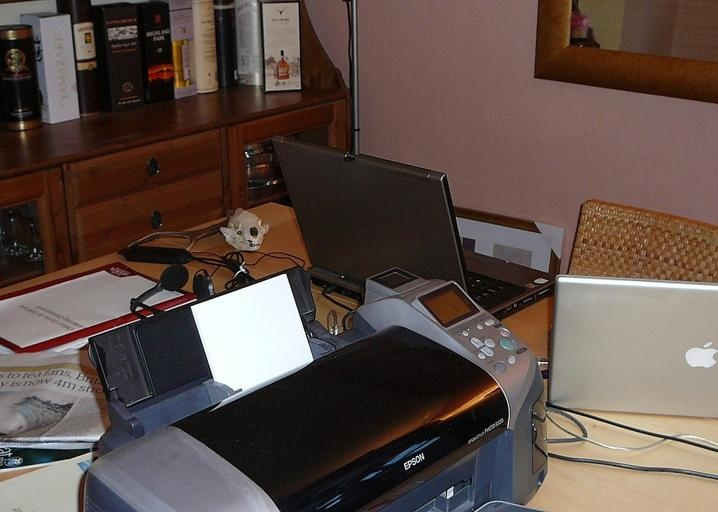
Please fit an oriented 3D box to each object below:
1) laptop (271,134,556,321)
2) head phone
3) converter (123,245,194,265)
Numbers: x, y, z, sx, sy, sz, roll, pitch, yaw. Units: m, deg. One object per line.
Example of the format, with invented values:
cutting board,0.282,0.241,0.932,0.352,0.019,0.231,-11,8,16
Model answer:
laptop,0.147,-0.131,1.441,0.548,0.445,0.536,18,28,41
head phone,-0.403,0.076,1.224,0.121,0.097,0.043,-28,42,25
converter,-0.595,-0.004,1.678,0.171,0.030,0.085,8,22,17
